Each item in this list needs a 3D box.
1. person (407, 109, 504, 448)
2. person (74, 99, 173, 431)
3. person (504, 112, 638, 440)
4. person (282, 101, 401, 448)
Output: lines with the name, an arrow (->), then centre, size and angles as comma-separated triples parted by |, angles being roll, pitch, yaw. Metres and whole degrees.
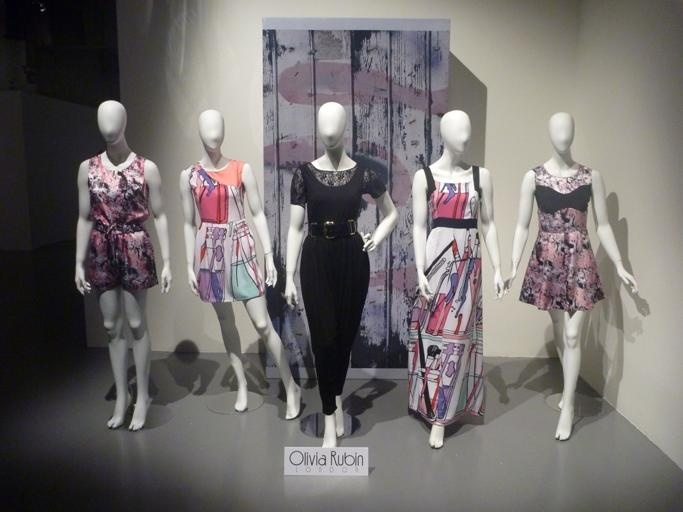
person -> 0.706, 0.226, 3.848 | 0.521, 1.816, 0.385 | -5, 13, -19
person -> -1.391, 0.070, 3.879 | 0.571, 2.060, 0.347 | -5, 12, -17
person -> 1.417, 0.224, 3.893 | 0.699, 1.786, 0.447 | 6, 13, 27
person -> -0.019, 0.216, 3.658 | 0.618, 1.770, 0.383 | 0, 12, 4
